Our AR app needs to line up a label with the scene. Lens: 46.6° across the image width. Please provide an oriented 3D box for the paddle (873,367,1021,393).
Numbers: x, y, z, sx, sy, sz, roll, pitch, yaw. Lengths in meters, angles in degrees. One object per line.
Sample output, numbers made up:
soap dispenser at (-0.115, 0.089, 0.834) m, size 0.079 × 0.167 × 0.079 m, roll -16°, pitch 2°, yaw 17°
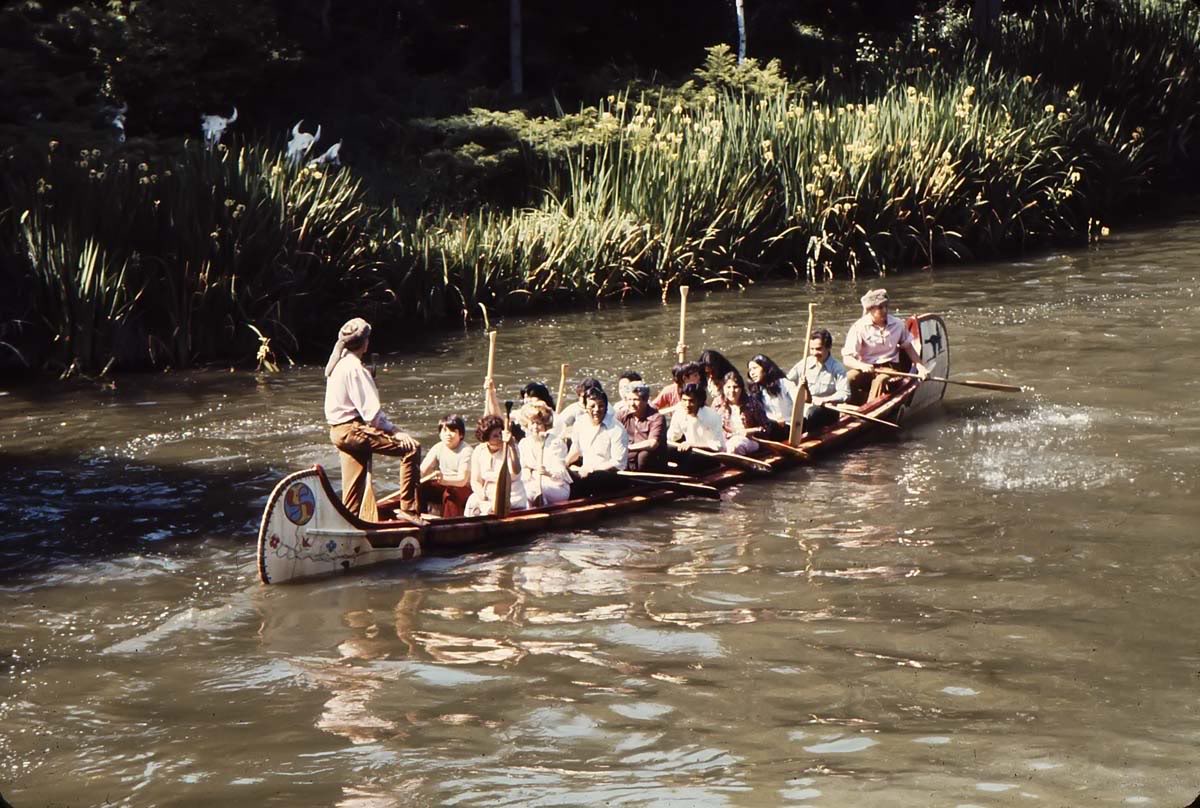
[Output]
paddle at (4.247, -0.283, 17.300) m, size 1.662 × 0.224 × 0.081 m, roll 7°, pitch 34°, yaw 2°

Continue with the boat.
boat at (0.080, 0.527, 14.943) m, size 6.832 × 0.940 × 1.203 m, roll -17°, pitch 25°, yaw -24°

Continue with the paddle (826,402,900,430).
paddle at (2.972, 0.138, 16.033) m, size 0.715 × 0.096 × 0.035 m, roll 20°, pitch 47°, yaw 10°

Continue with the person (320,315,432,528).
person at (-2.154, 0.148, 13.113) m, size 0.813 × 1.865 × 0.639 m, roll -4°, pitch 7°, yaw -12°

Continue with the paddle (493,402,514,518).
paddle at (-0.942, 0.592, 13.343) m, size 0.199 × 0.941 × 0.569 m, roll -3°, pitch 7°, yaw -4°

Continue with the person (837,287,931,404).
person at (3.333, -0.508, 16.757) m, size 1.139 × 1.609 × 0.865 m, roll -10°, pitch 10°, yaw -35°
